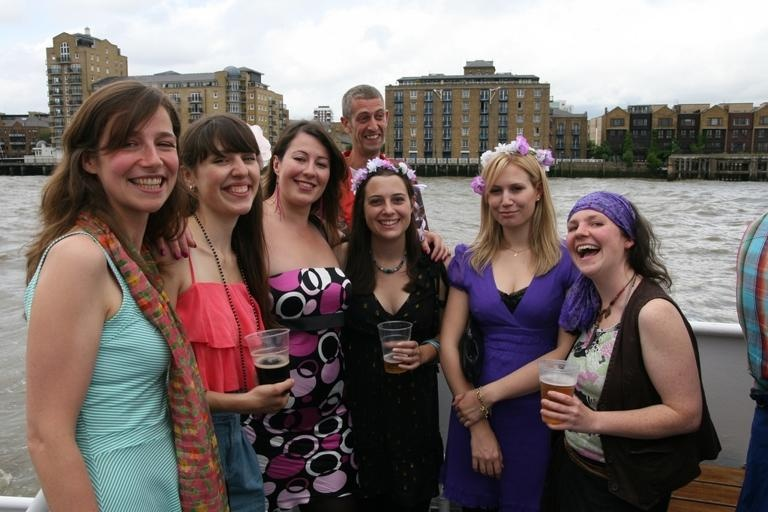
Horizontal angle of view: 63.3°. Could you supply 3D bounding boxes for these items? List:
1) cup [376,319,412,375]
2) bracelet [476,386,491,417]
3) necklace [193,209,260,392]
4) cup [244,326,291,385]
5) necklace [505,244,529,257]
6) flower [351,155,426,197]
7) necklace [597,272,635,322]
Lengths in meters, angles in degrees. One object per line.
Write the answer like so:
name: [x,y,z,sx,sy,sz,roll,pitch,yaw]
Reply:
cup: [0.051,0.492,3.438,0.247,0.304,0.261,-3,-1,0]
bracelet: [0.558,0.817,3.492,0.047,0.129,0.113,-24,-10,20]
necklace: [-0.858,0.232,3.131,0.044,0.919,0.242,-24,-16,16]
cup: [-0.540,0.488,2.961,0.200,0.274,0.163,-4,5,4]
necklace: [0.791,-0.031,3.714,0.094,0.095,0.030,-3,-21,12]
flower: [-0.032,-0.447,3.846,0.286,0.132,0.289,-2,1,41]
necklace: [1.145,0.209,3.114,0.071,0.094,0.306,-8,-36,-30]
